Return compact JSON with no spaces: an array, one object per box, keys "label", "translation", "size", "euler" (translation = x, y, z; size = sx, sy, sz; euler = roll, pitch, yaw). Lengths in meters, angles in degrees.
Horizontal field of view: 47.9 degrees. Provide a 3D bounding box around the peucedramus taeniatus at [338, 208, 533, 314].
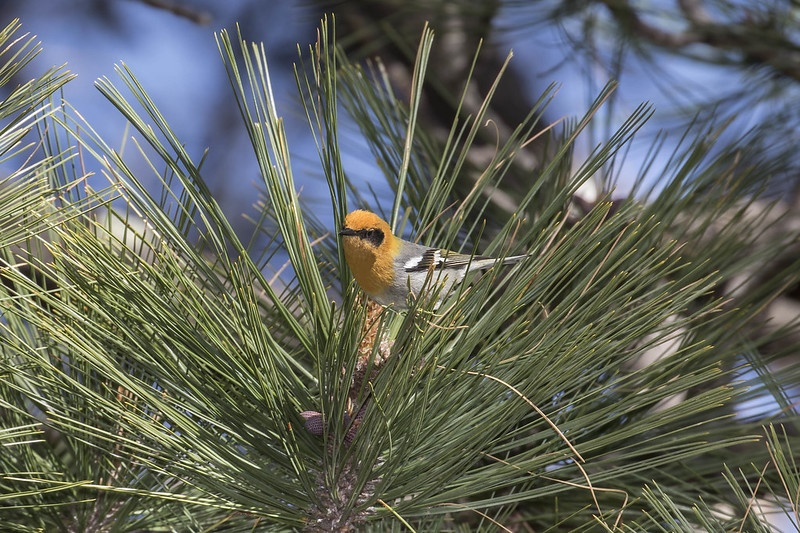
[{"label":"peucedramus taeniatus","translation":[0.109,-0.004,3.171],"size":[0.791,0.411,0.213],"euler":[-7,17,-42]}]
